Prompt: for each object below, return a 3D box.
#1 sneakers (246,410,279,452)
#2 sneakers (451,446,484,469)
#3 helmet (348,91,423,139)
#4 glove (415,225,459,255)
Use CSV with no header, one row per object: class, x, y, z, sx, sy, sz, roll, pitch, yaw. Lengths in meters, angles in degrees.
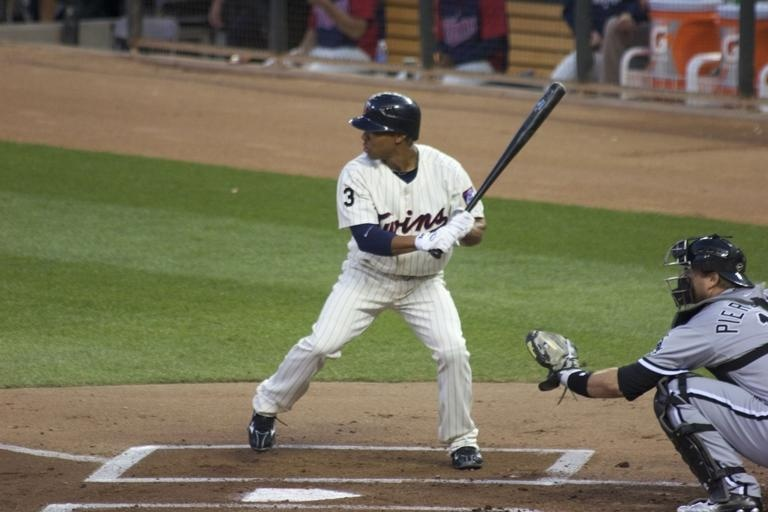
sneakers,-1.111,1.630,15.608,0.196,0.420,0.197,2,-34,-15
sneakers,0.760,1.843,15.392,0.226,0.140,0.382,1,2,2
helmet,0.031,-1.294,15.486,0.608,0.282,0.405,8,8,-7
glove,0.482,-0.137,15.165,0.290,0.121,0.268,8,48,32
